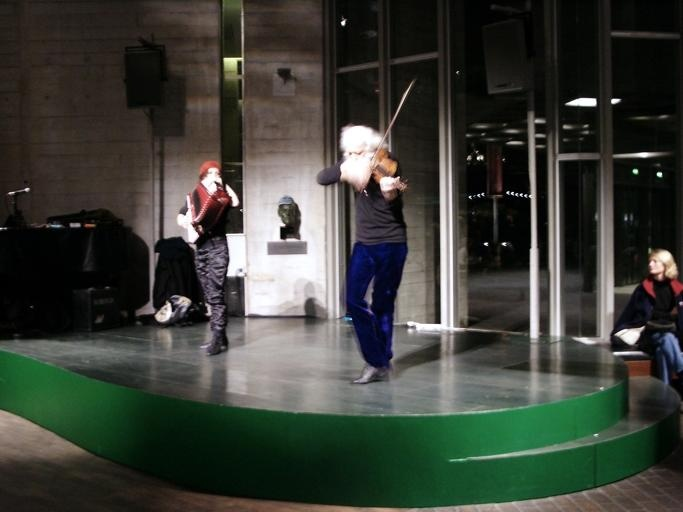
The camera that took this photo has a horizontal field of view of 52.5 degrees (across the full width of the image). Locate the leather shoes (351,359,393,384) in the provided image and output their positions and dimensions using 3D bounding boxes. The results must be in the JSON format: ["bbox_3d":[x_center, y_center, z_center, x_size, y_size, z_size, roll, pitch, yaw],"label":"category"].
[{"bbox_3d":[0.320,1.087,6.320,0.427,0.179,0.132,3,-6,-33],"label":"leather shoes"}]

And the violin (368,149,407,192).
[{"bbox_3d":[0.409,-0.746,5.966,0.424,0.226,0.169,36,17,23],"label":"violin"}]

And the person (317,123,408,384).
[{"bbox_3d":[0.278,-0.020,6.191,0.732,2.336,0.505,0,3,25],"label":"person"}]

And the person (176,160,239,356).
[{"bbox_3d":[-1.419,0.009,7.557,0.472,2.100,0.417,-3,3,-42],"label":"person"}]

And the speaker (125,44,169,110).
[{"bbox_3d":[-2.800,-2.619,9.942,0.587,0.924,0.280,-2,3,-15],"label":"speaker"}]
